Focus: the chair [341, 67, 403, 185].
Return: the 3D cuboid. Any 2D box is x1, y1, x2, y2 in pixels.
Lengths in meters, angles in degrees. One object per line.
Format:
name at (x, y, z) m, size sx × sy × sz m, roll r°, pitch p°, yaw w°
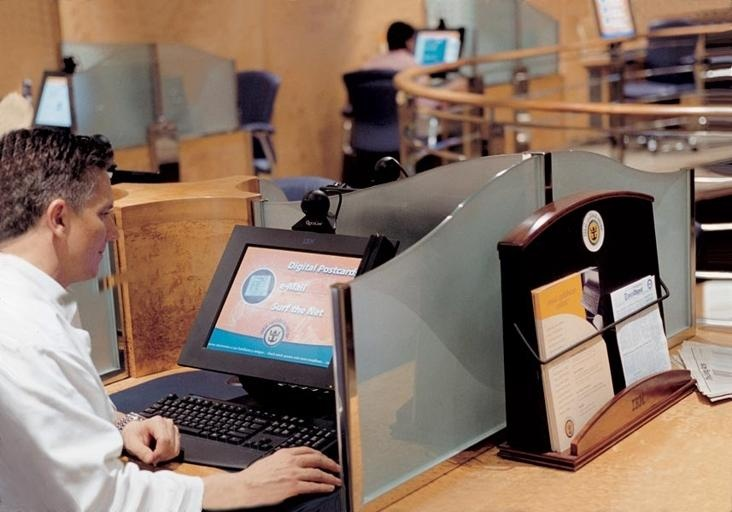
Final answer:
chair at (0.038, -1.222, 6.472) m, size 0.505 × 1.076 × 0.811 m, roll -4°, pitch 12°, yaw -1°
